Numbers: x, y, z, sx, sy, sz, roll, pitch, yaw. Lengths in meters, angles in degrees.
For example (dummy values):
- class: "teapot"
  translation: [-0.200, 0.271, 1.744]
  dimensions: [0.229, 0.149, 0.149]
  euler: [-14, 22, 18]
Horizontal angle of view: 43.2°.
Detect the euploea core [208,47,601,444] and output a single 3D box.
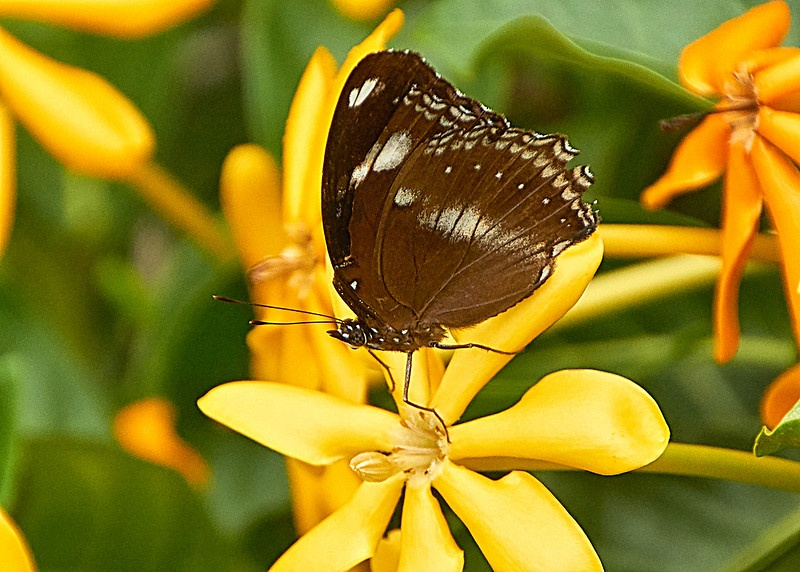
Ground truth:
- class: "euploea core"
  translation: [0.017, -0.050, 1.076]
  dimensions: [0.373, 0.342, 0.339]
  euler: [0, 88, 2]
